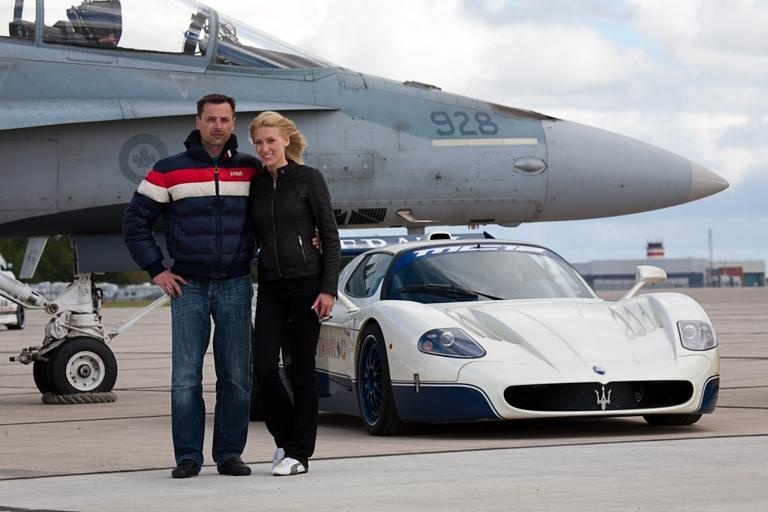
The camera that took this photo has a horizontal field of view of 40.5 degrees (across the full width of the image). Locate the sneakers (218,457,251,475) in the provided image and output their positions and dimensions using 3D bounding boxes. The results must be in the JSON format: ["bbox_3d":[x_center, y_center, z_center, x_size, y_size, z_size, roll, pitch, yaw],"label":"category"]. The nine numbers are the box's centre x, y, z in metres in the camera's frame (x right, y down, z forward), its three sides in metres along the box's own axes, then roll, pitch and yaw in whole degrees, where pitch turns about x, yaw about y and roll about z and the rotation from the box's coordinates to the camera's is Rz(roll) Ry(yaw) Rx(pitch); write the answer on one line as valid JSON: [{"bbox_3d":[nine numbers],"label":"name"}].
[{"bbox_3d":[-1.082,1.545,7.623,0.103,0.092,0.274,5,-12,-42],"label":"sneakers"}]

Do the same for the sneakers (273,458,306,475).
[{"bbox_3d":[-0.673,1.529,7.552,0.220,0.075,0.109,14,-29,-36],"label":"sneakers"}]

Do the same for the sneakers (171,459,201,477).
[{"bbox_3d":[-1.416,1.548,7.559,0.095,0.085,0.240,-4,-11,17],"label":"sneakers"}]
